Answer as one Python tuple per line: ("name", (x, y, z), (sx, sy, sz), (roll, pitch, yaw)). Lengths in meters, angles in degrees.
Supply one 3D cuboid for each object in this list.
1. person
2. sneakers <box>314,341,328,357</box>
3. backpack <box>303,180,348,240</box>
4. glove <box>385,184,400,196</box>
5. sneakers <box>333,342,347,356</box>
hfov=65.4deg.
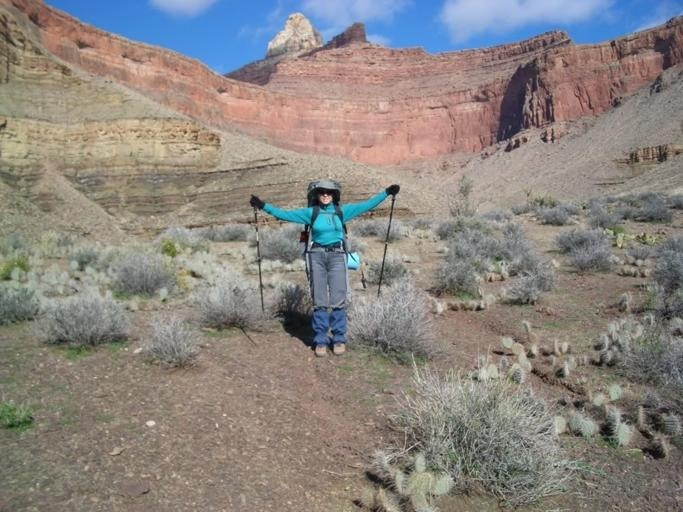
("person", (-0.226, 0.131, 8.176), (1.515, 2.622, 0.942), (4, 3, -1))
("sneakers", (-0.308, 1.371, 7.843), (0.159, 0.166, 0.341), (0, -12, -1))
("backpack", (-0.209, -0.859, 8.441), (0.399, 0.677, 0.694), (3, -38, 6))
("glove", (0.820, -1.086, 8.701), (0.131, 0.177, 0.430), (1, 15, 6))
("sneakers", (-0.021, 1.373, 7.906), (0.201, 0.182, 0.144), (3, 3, -18))
